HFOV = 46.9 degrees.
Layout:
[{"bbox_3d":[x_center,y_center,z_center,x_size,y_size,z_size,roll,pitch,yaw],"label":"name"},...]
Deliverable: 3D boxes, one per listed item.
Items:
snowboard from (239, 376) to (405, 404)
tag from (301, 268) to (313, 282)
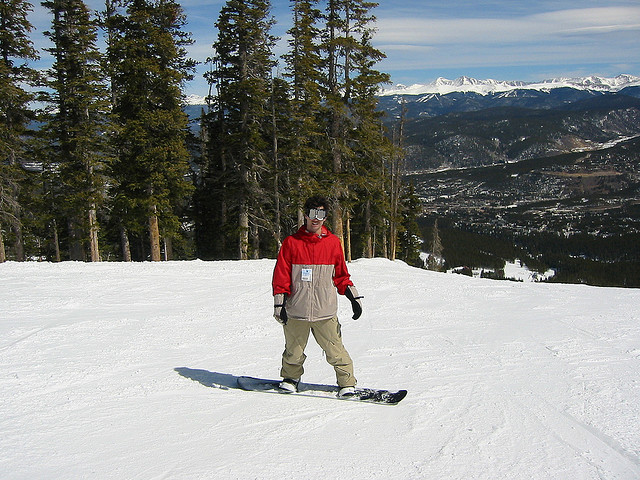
[{"bbox_3d":[0.032,3.524,17.166,3.309,0.164,0.505,2,29,6],"label":"snowboard"},{"bbox_3d":[-0.345,0.813,16.847,0.346,0.285,0.047,1,-5,2],"label":"tag"}]
